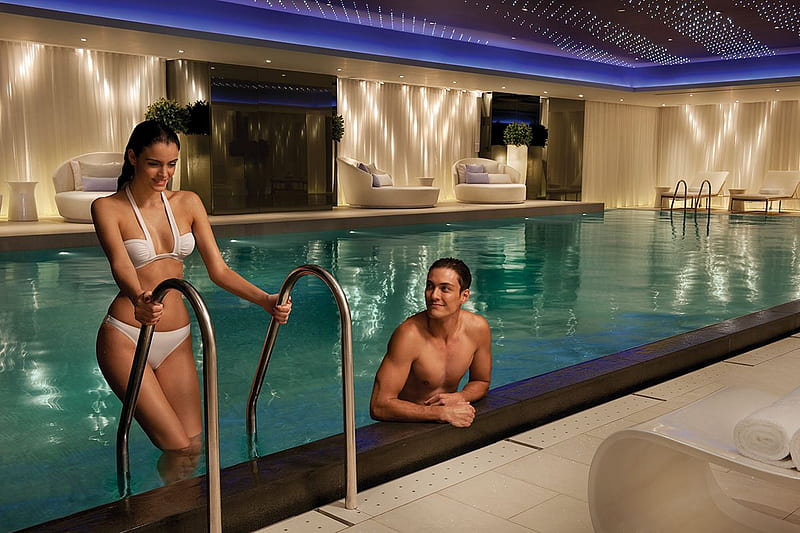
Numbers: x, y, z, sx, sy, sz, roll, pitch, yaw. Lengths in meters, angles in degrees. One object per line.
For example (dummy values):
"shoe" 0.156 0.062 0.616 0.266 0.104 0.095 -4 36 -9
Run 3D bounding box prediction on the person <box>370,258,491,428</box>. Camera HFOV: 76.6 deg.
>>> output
"person" 0.175 0.367 2.552 0.553 0.791 0.379 6 13 12

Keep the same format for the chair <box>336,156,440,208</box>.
"chair" -0.394 -2.289 13.677 2.147 1.013 1.551 1 7 6

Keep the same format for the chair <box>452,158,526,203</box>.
"chair" 2.547 -2.540 15.668 1.896 1.150 1.599 -2 5 -22

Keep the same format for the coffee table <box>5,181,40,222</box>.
"coffee table" -7.412 -1.258 9.891 0.476 0.753 0.571 -5 15 -34

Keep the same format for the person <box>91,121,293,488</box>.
"person" -1.056 0.211 2.353 0.593 1.705 0.883 -7 16 -37
